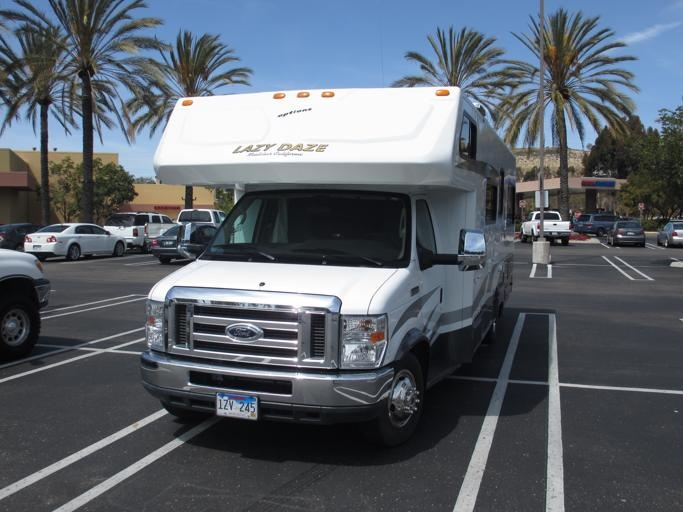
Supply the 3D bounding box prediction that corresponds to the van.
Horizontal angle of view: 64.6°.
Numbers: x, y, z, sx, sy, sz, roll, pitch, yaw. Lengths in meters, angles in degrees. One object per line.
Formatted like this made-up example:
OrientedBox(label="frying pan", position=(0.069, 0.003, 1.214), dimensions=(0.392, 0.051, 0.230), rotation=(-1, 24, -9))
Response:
OrientedBox(label="van", position=(0.250, -0.075, 7.922), dimensions=(3.409, 3.660, 6.567), rotation=(2, 2, 23))
